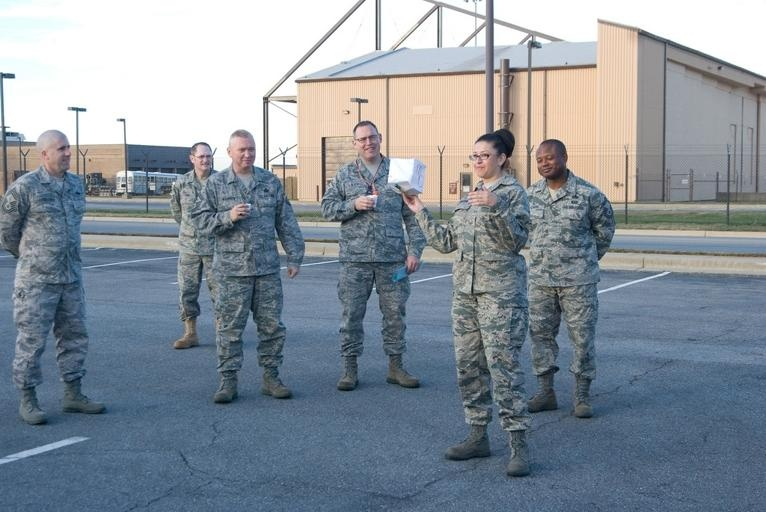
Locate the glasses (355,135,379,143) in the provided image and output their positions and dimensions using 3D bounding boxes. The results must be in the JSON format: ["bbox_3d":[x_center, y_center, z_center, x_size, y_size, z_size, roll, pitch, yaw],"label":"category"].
[{"bbox_3d":[-0.171,-1.295,8.793,0.238,0.090,0.087,-3,9,-17],"label":"glasses"}]

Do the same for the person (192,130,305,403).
[{"bbox_3d":[-1.459,0.097,8.614,1.108,2.887,0.795,-2,9,-12],"label":"person"}]

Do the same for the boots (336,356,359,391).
[{"bbox_3d":[-0.394,1.328,8.936,0.241,0.354,0.302,-1,8,-2],"label":"boots"}]

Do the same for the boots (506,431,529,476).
[{"bbox_3d":[1.194,1.706,6.867,0.200,0.318,0.472,-6,6,18],"label":"boots"}]

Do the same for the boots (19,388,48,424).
[{"bbox_3d":[-3.401,1.509,7.762,0.180,0.315,0.486,0,2,-45],"label":"boots"}]

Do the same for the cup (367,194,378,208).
[{"bbox_3d":[-0.099,-0.595,8.626,0.144,0.133,0.152,1,10,0],"label":"cup"}]

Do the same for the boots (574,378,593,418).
[{"bbox_3d":[2.089,1.460,8.079,0.181,0.372,0.224,1,9,12],"label":"boots"}]

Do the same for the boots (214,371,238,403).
[{"bbox_3d":[-1.701,1.403,8.491,0.211,0.320,0.310,0,8,6],"label":"boots"}]

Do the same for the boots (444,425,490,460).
[{"bbox_3d":[0.801,1.720,7.250,0.502,0.321,0.210,1,-3,-9],"label":"boots"}]

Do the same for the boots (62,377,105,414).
[{"bbox_3d":[-3.014,1.482,8.130,0.634,0.392,0.215,1,3,-3],"label":"boots"}]

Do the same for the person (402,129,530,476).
[{"bbox_3d":[0.865,0.362,7.066,0.971,2.961,1.019,1,9,8],"label":"person"}]

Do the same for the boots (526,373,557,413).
[{"bbox_3d":[1.723,1.469,8.409,0.464,0.408,0.222,-19,-21,42],"label":"boots"}]

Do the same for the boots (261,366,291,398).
[{"bbox_3d":[-1.188,1.424,8.628,0.190,0.281,0.486,0,0,-39],"label":"boots"}]
